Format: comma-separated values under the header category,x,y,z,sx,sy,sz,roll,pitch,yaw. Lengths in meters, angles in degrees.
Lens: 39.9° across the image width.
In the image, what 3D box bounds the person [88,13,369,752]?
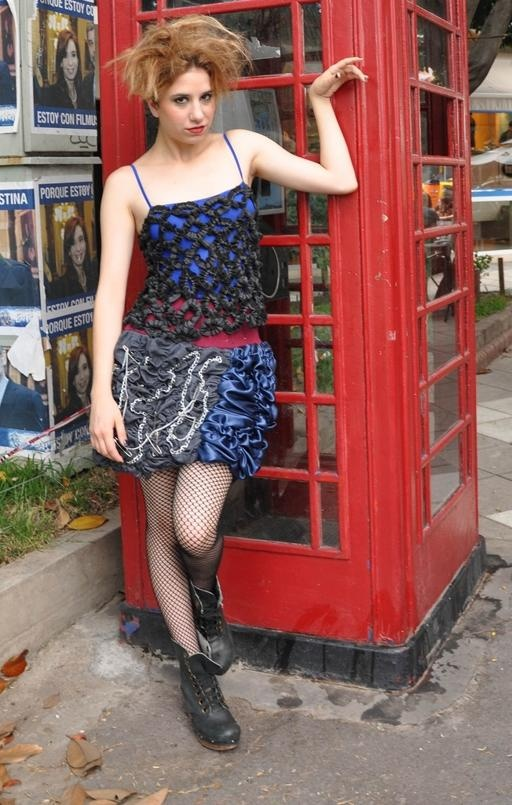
category,x,y,z,sx,sy,sz,roll,pitch,yaw
person,-0.078,-0.035,1.750,0.664,1.810,0.358,-5,8,-15

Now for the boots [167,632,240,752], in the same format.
category,x,y,z,sx,sy,sz,roll,pitch,yaw
boots,-0.185,0.748,1.843,0.109,0.228,0.322,-13,20,-23
